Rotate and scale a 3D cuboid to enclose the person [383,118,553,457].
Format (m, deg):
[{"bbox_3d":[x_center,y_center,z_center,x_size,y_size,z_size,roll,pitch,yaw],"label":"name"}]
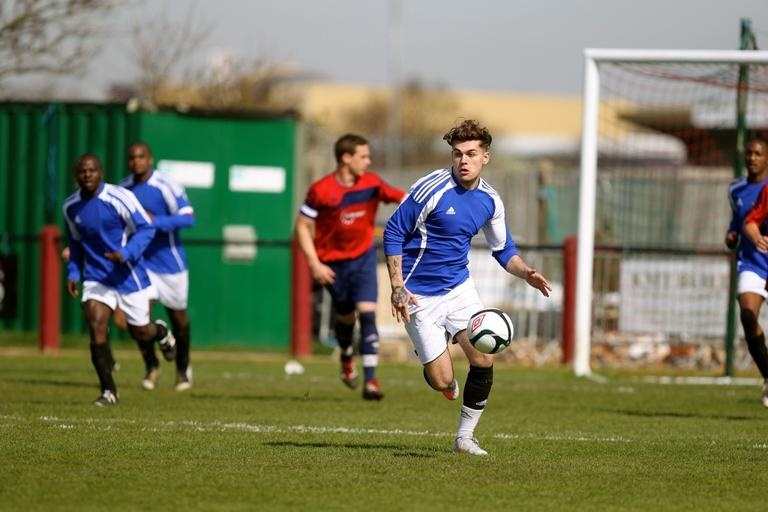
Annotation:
[{"bbox_3d":[0.684,0.322,12.999,1.378,3.394,0.681,1,-1,5],"label":"person"}]

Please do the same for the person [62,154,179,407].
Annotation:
[{"bbox_3d":[-3.042,0.289,14.641,0.790,2.854,1.233,0,-1,41],"label":"person"}]

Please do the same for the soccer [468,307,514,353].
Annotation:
[{"bbox_3d":[1.042,0.738,12.710,0.462,0.439,0.450,-1,-1,-4],"label":"soccer"}]

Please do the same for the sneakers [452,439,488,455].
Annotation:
[{"bbox_3d":[0.850,1.931,12.901,0.315,0.136,0.154,3,5,13],"label":"sneakers"}]
